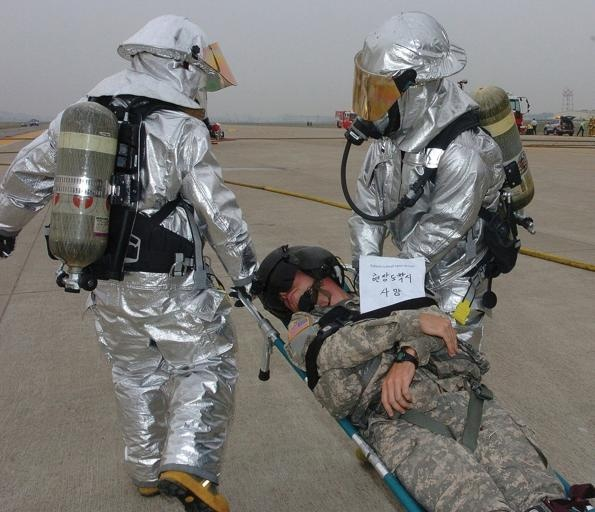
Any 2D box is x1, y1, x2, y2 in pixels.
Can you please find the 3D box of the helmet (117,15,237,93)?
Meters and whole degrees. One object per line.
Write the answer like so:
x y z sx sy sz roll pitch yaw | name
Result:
-0.542 -0.956 2.102 0.523 0.271 0.362 -3 8 -35 | helmet

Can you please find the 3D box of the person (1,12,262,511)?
-0.598 0.054 1.975 0.836 2.163 1.222 -11 18 -33 | person

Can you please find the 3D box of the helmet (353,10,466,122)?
0.577 -1.012 2.327 0.593 0.494 0.495 -16 41 -3 | helmet

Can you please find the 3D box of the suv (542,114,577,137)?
19.351 -9.540 33.003 1.626 1.445 3.068 6 16 23 | suv

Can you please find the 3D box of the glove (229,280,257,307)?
-0.264 0.179 2.172 0.150 0.148 0.055 -14 -9 -7 | glove

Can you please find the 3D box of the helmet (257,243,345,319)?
-0.060 0.193 2.611 0.352 0.362 0.467 24 0 42 | helmet
